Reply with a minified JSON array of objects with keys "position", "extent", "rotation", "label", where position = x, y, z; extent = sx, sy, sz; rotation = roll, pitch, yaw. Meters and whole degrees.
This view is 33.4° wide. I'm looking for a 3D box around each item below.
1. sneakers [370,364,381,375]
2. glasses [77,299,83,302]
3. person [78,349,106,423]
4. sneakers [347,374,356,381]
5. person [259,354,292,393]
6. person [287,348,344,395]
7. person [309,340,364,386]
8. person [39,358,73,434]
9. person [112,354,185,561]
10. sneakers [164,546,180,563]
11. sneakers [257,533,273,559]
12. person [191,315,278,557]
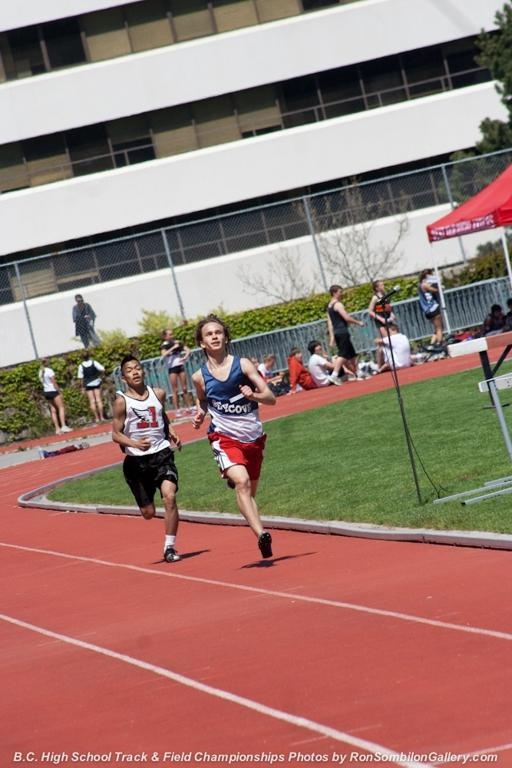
[{"position":[2.716,-0.327,19.615],"extent":[0.194,0.201,0.550],"rotation":[0,-6,-2],"label":"sneakers"},{"position":[-5.441,-2.570,26.372],"extent":[0.117,0.130,0.148],"rotation":[-1,16,8],"label":"glasses"},{"position":[-4.501,0.082,23.685],"extent":[0.611,2.067,0.937],"rotation":[-14,3,-15],"label":"person"},{"position":[2.187,-0.155,19.626],"extent":[0.149,0.159,0.151],"rotation":[4,12,8],"label":"sneakers"},{"position":[0.413,-0.232,18.397],"extent":[0.652,0.875,0.415],"rotation":[-14,41,-8],"label":"person"},{"position":[1.335,-0.286,20.191],"extent":[1.015,1.024,0.594],"rotation":[-7,10,-20],"label":"person"},{"position":[1.799,-0.543,19.740],"extent":[1.146,1.183,0.868],"rotation":[-18,14,-17],"label":"person"},{"position":[-5.681,0.374,24.033],"extent":[0.482,2.154,1.360],"rotation":[-14,3,-12],"label":"person"},{"position":[-0.972,0.661,7.871],"extent":[0.579,1.902,1.058],"rotation":[-14,3,-7],"label":"person"},{"position":[-0.743,1.493,7.480],"extent":[0.102,0.107,0.229],"rotation":[0,-12,-6],"label":"sneakers"},{"position":[0.072,1.216,6.304],"extent":[0.084,0.228,0.107],"rotation":[-5,13,-10],"label":"sneakers"},{"position":[-0.133,0.439,6.646],"extent":[0.627,1.863,0.919],"rotation":[-13,3,-5],"label":"person"}]
